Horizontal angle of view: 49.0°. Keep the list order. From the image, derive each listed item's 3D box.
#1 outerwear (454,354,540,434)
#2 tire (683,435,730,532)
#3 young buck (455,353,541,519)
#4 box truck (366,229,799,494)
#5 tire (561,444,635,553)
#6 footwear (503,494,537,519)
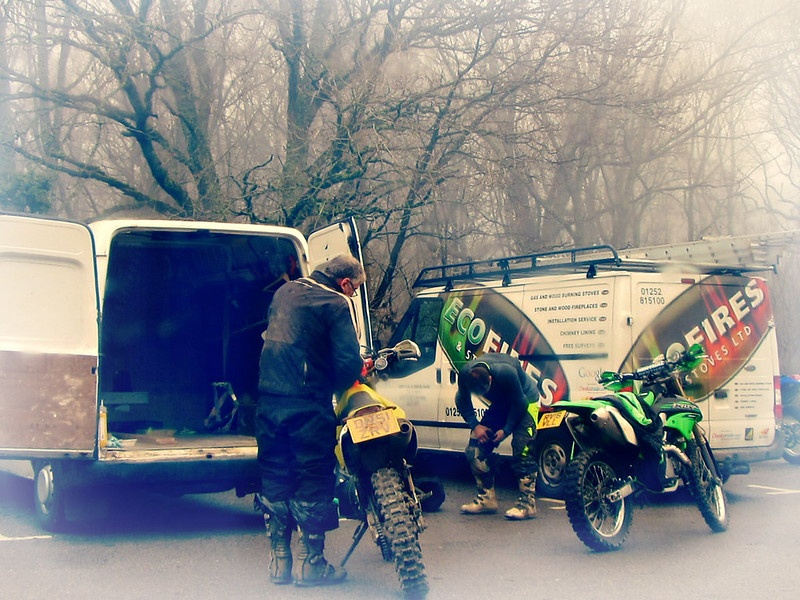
[{"bbox_3d":[1.040,1.025,9.645,0.657,0.747,0.884,-21,-4,32],"label":"outerwear"},{"bbox_3d":[3.157,1.892,9.005,0.175,0.684,0.662,-11,33,22],"label":"tire"},{"bbox_3d":[1.087,1.500,9.606,0.923,1.816,0.633,0,2,2],"label":"young buck"},{"bbox_3d":[2.244,0.407,11.526,4.856,2.757,2.996,0,-3,44],"label":"box truck"},{"bbox_3d":[1.893,1.911,8.321,0.789,0.943,0.351,-2,3,-37],"label":"tire"},{"bbox_3d":[1.314,2.299,9.663,0.428,0.357,0.162,3,-5,-7],"label":"footwear"}]
